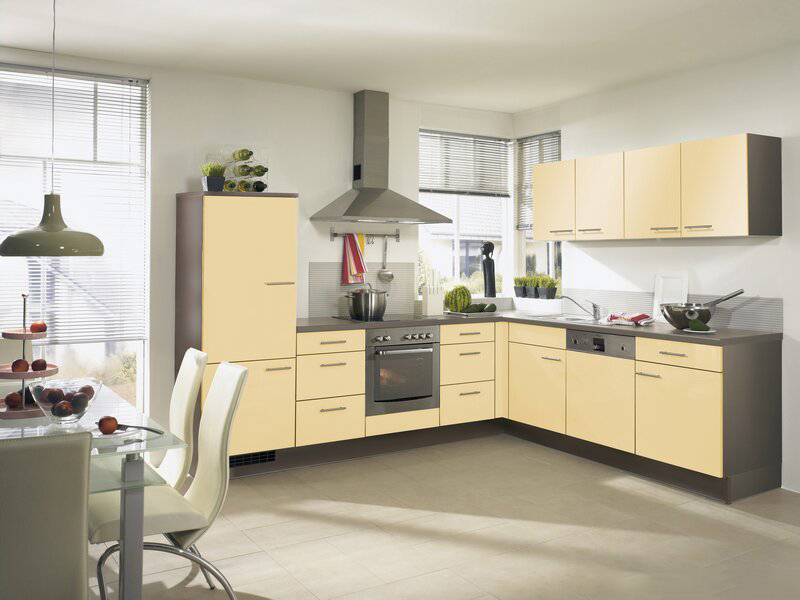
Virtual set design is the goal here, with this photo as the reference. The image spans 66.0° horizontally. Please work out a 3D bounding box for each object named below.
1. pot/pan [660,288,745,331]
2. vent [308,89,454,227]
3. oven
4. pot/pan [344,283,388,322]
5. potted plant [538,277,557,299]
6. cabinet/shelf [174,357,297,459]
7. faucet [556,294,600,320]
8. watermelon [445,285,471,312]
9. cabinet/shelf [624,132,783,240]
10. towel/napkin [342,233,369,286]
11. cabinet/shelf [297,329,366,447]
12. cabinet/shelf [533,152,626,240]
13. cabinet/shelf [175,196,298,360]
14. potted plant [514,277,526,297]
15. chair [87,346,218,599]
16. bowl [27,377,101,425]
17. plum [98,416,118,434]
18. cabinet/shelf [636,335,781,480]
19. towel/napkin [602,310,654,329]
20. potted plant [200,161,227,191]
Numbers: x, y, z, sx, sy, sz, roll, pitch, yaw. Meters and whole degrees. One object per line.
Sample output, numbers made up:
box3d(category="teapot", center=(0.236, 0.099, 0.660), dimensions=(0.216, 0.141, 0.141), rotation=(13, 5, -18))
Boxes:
box3d(category="pot/pan", center=(2.307, 0.066, 4.704), dimensions=(0.523, 0.299, 0.414), rotation=(-3, 7, -26))
box3d(category="vent", center=(-0.232, -1.273, 5.741), dimensions=(1.341, 1.262, 1.179), rotation=(-9, 17, -28))
box3d(category="oven", center=(-0.048, 0.588, 5.517), dimensions=(0.763, 0.790, 0.571), rotation=(0, 2, -20))
box3d(category="pot/pan", center=(-0.291, 0.028, 5.436), dimensions=(0.348, 0.227, 0.292), rotation=(1, -2, -29))
box3d(category="potted plant", center=(1.464, -0.130, 6.080), dimensions=(0.192, 0.215, 0.203), rotation=(0, 1, -23))
box3d(category="cabinet/shelf", center=(-1.168, 0.740, 4.928), dimensions=(0.704, 0.657, 0.557), rotation=(1, 10, -5))
box3d(category="faucet", center=(1.724, 0.066, 5.751), dimensions=(0.312, 0.180, 0.797), rotation=(0, 6, 1))
box3d(category="watermelon", center=(0.592, -0.010, 5.954), dimensions=(0.246, 0.239, 0.237), rotation=(0, 1, -29))
box3d(category="cabinet/shelf", center=(2.348, -0.861, 4.836), dimensions=(0.529, 0.717, 0.981), rotation=(-9, 9, -36))
box3d(category="towel/napkin", center=(-0.400, -0.379, 5.723), dimensions=(0.288, 0.478, 0.183), rotation=(-3, 7, -25))
box3d(category="cabinet/shelf", center=(-0.677, 0.675, 5.279), dimensions=(0.667, 0.932, 0.660), rotation=(-4, 9, -34))
box3d(category="cabinet/shelf", center=(1.706, -0.900, 5.578), dimensions=(0.358, 0.712, 0.962), rotation=(-7, 8, -37))
box3d(category="cabinet/shelf", center=(-1.302, -0.176, 4.815), dimensions=(1.008, 1.318, 0.488), rotation=(-1, 6, -6))
box3d(category="potted plant", center=(1.251, -0.134, 6.345), dimensions=(0.174, 0.246, 0.174), rotation=(-1, 0, 1))
box3d(category="chair", center=(-1.486, 0.977, 3.422), dimensions=(0.758, 1.286, 0.663), rotation=(0, -9, -33))
box3d(category="bowl", center=(-1.574, 0.488, 2.951), dimensions=(0.268, 0.127, 0.271), rotation=(12, 13, -3))
box3d(category="plum", center=(-1.303, 0.560, 2.767), dimensions=(0.077, 0.080, 0.080), rotation=(4, -4, -24))
box3d(category="cabinet/shelf", center=(2.321, 0.752, 4.645), dimensions=(0.824, 0.963, 0.775), rotation=(-5, 4, -21))
box3d(category="towel/napkin", center=(1.841, 0.146, 5.028), dimensions=(0.376, 0.098, 0.398), rotation=(-6, 8, -43))
box3d(category="potted plant", center=(-1.440, -0.961, 4.801), dimensions=(0.157, 0.224, 0.151), rotation=(-2, 7, -19))
